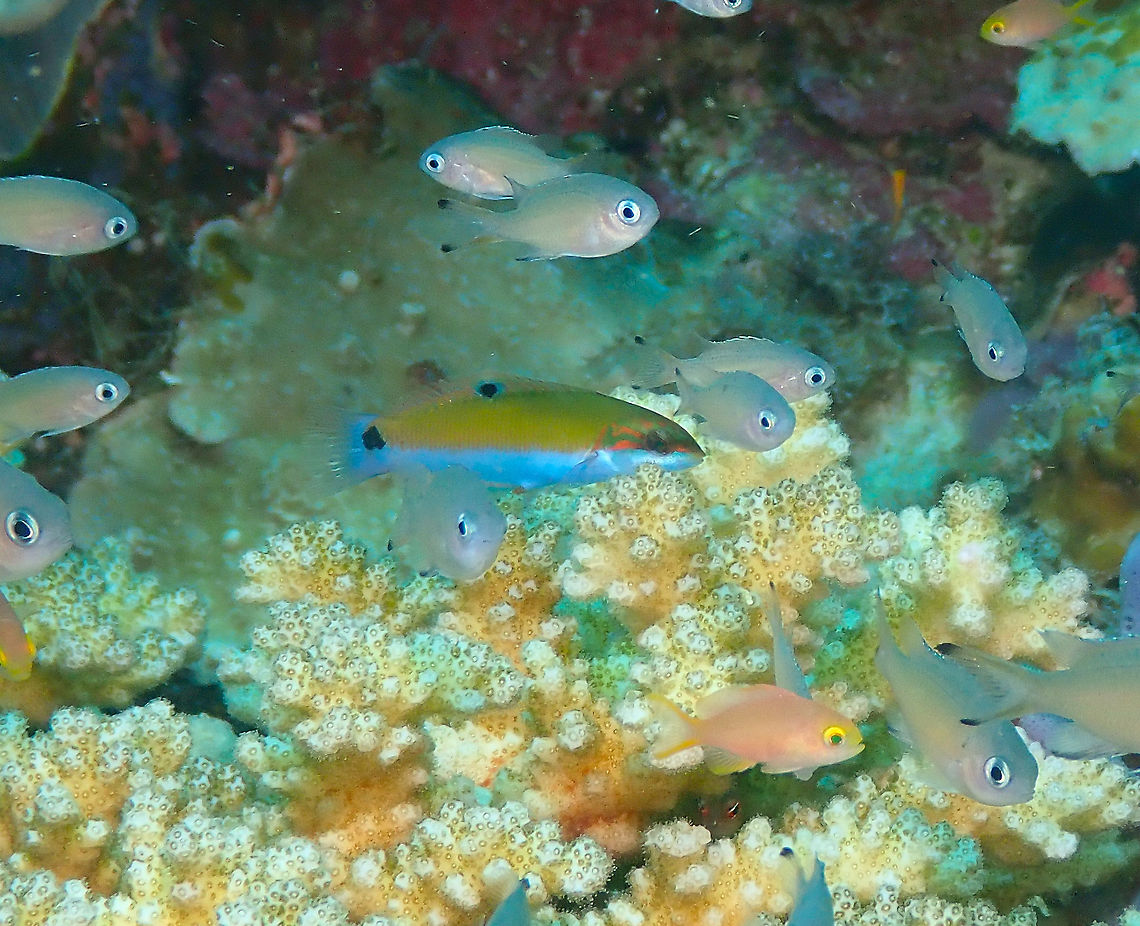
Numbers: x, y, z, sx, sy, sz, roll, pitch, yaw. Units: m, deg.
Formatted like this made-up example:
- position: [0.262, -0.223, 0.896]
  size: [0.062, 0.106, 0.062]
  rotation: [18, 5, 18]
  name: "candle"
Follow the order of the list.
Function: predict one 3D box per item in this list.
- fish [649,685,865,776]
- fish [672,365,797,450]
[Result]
- position: [0.690, 0.989, 4.778]
  size: [0.749, 0.319, 0.269]
  rotation: [0, -8, 1]
  name: "fish"
- position: [0.676, -0.249, 5.506]
  size: [0.588, 0.356, 0.131]
  rotation: [21, 30, 29]
  name: "fish"
